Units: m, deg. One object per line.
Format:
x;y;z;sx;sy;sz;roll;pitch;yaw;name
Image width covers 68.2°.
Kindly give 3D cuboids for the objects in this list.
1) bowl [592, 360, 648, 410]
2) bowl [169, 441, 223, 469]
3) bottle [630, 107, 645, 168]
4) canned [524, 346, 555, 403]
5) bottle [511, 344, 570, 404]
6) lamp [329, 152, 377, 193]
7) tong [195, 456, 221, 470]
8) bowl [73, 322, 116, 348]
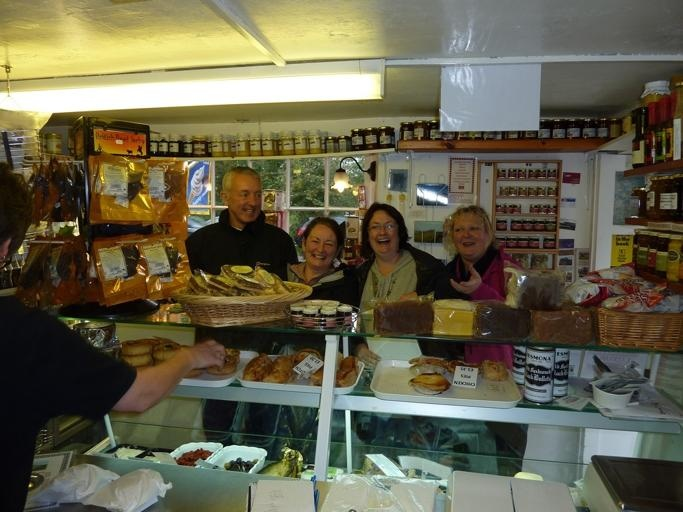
1.077;0.513;1.936;0.181;0.081;0.152;0;-2;-41;bowl
-0.651;0.899;2.259;0.125;0.025;0.118;1;2;0;bowl
1.530;-0.608;2.576;0.039;0.304;0.156;3;10;21;bottle
0.758;0.455;1.914;0.101;0.218;0.068;2;10;18;canned
0.771;0.447;1.943;0.284;0.217;0.235;1;-4;-4;bottle
-0.017;-0.826;5.058;0.594;0.321;0.269;1;-1;-27;lamp
-0.587;0.918;2.210;0.083;0.028;0.092;10;2;0;tong
-1.020;0.326;2.099;0.162;0.109;0.147;2;-2;-30;bowl
